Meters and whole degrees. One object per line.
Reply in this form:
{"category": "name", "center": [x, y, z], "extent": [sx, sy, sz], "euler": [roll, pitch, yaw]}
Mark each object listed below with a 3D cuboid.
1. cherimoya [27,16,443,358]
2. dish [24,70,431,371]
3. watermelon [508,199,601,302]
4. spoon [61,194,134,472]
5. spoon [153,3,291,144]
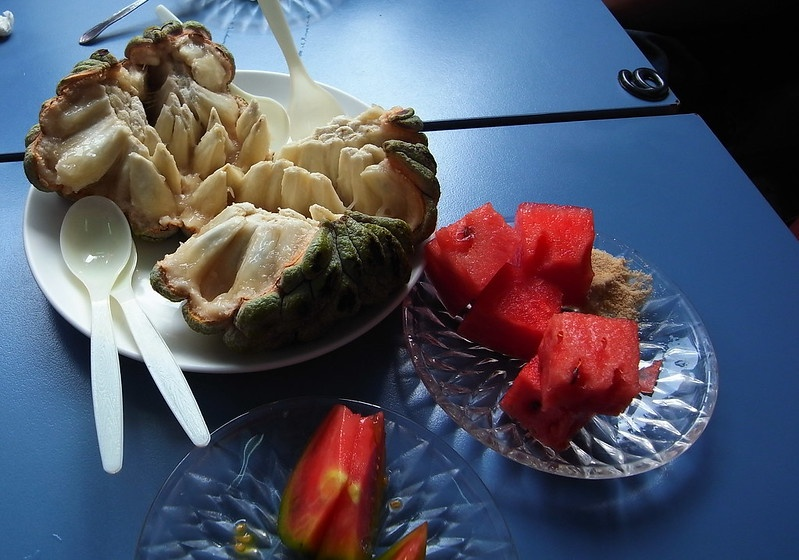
{"category": "cherimoya", "center": [-0.303, -0.034, 1.248], "extent": [0.639, 0.290, 0.535], "euler": [29, 51, 8]}
{"category": "dish", "center": [-0.300, -0.088, 1.136], "extent": [0.619, 0.201, 0.519], "euler": [-11, 43, -17]}
{"category": "watermelon", "center": [0.257, -0.048, 1.185], "extent": [0.135, 0.145, 0.157], "euler": [-10, 62, -14]}
{"category": "spoon", "center": [-0.472, 0.029, 1.048], "extent": [0.105, 0.063, 0.562], "euler": [-9, 59, -12]}
{"category": "spoon", "center": [-0.343, -0.396, 1.312], "extent": [0.097, 0.064, 0.428], "euler": [-30, 77, -31]}
